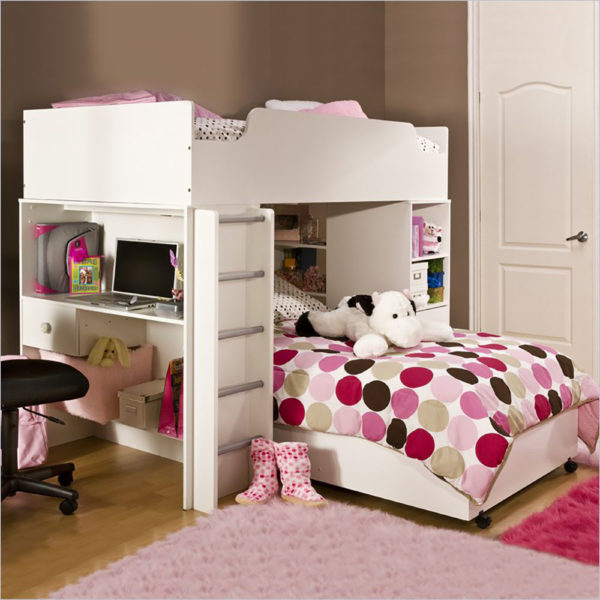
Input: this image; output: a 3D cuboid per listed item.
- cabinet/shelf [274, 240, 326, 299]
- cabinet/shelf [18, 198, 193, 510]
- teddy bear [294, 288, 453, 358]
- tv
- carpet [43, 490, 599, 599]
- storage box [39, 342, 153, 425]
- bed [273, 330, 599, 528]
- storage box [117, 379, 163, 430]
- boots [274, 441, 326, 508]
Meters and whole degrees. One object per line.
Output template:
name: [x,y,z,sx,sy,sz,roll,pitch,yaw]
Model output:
cabinet/shelf: [0.048,-0.158,3.642,0.277,0.438,0.418,-2,0,36]
cabinet/shelf: [-1.098,0.148,3.092,0.409,1.354,1.258,-3,0,-36]
teddy bear: [0.283,0.103,2.521,0.347,0.181,0.421,-4,4,-42]
tv: [-0.697,-0.143,2.544,0.015,0.262,0.373,6,1,32]
carpet: [0.115,0.761,1.668,1.438,0.033,0.693,0,3,10]
storage box: [-0.919,0.335,2.664,0.352,0.285,0.367,6,7,38]
bed: [0.419,0.281,2.140,0.807,0.387,0.723,4,9,37]
storage box: [-0.708,0.461,2.514,0.164,0.125,0.176,2,4,21]
boots: [0.037,0.672,2.155,0.129,0.280,0.371,-15,-15,10]
